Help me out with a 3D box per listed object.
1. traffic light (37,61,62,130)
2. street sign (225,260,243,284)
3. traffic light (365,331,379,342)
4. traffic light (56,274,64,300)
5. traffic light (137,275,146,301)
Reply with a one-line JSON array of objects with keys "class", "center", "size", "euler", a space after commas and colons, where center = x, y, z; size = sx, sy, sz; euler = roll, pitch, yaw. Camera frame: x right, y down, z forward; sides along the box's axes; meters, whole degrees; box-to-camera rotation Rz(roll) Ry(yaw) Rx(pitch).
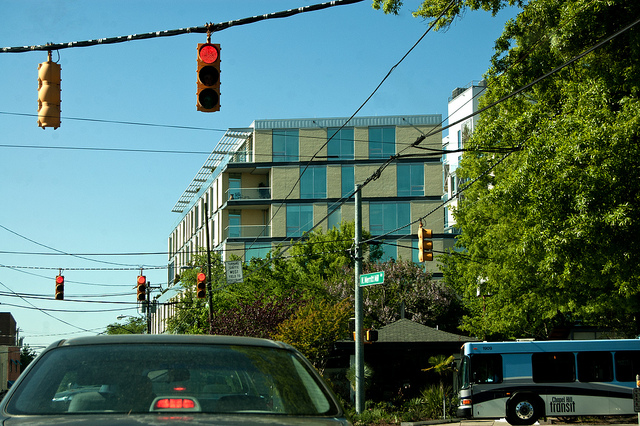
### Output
[{"class": "traffic light", "center": [-9.688, -4.228, 39.959], "size": [0.758, 2.616, 0.834], "euler": [2, -14, -15]}, {"class": "street sign", "center": [-5.311, 3.482, 68.988], "size": [0.910, 1.318, 1.587], "euler": [-2, -15, -1]}, {"class": "traffic light", "center": [2.461, 5.759, 52.427], "size": [0.468, 0.532, 0.513], "euler": [2, -2, -10]}, {"class": "traffic light", "center": [-13.906, 3.938, 59.477], "size": [0.306, 1.246, 0.299], "euler": [2, -14, -17]}, {"class": "traffic light", "center": [-9.790, 4.188, 61.018], "size": [0.395, 1.282, 1.474], "euler": [0, -15, -10]}]
